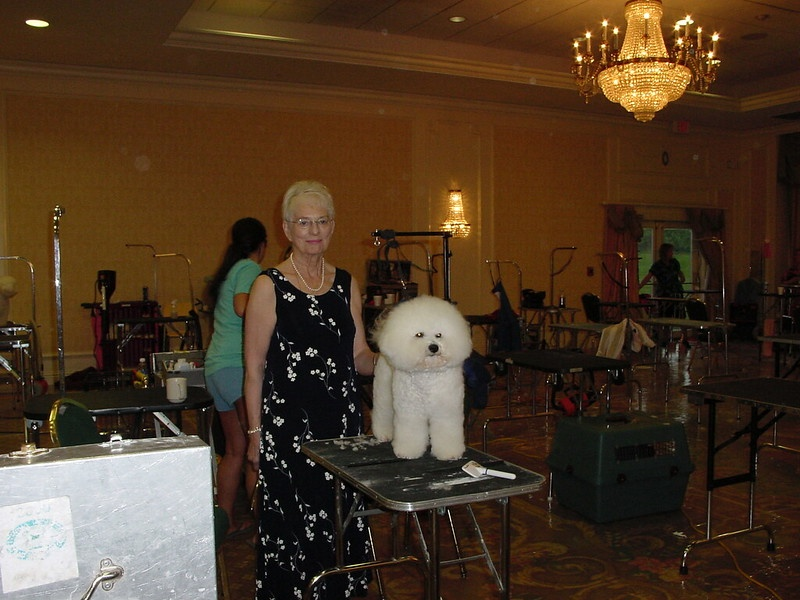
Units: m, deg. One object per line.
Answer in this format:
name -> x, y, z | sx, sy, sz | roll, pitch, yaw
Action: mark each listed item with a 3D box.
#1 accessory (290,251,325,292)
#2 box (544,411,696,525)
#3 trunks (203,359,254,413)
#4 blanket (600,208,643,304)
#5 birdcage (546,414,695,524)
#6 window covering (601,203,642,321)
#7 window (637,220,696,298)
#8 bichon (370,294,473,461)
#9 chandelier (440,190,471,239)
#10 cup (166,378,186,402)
accessory -> -0.410, -0.113, 3.153 | 0.132, 0.193, 0.034 | -22, 0, -31
box -> 1.362, 1.025, 4.564 | 0.807, 0.562, 0.670 | 0, -2, -23
trunks -> -0.936, 0.452, 3.959 | 0.208, 0.234, 0.272 | -14, 9, -35
blanket -> 3.573, -0.771, 11.384 | 0.662, 1.320, 0.242 | 7, -13, -19
birdcage -> 1.377, 0.933, 4.561 | 0.807, 0.561, 0.669 | 0, -2, -23
window covering -> 3.565, -0.629, 11.355 | 0.632, 1.617, 0.274 | 5, -15, 1
window -> 4.265, -0.707, 11.626 | 1.390, 1.537, 0.109 | -1, -1, -29
bichon -> 0.078, 0.314, 2.742 | 0.362, 0.635, 0.194 | 0, 8, -3
chandelier -> 0.755, -1.198, 9.897 | 0.368, 0.683, 0.743 | 3, 8, 22
cup -> -1.257, 0.494, 4.017 | 0.109, 0.139, 0.194 | -2, 8, -18
